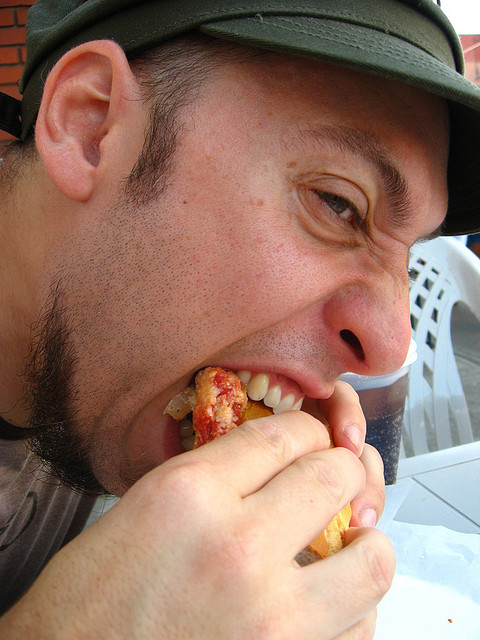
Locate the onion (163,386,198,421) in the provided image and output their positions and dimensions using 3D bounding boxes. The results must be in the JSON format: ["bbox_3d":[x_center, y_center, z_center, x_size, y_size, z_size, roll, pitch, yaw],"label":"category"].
[{"bbox_3d":[-0.112,0.161,1.259,0.072,0.043,0.017,-37,27,4],"label":"onion"}]

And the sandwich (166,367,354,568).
[{"bbox_3d":[0.094,0.204,1.193,0.144,0.288,0.376,-42,62,-9],"label":"sandwich"}]
